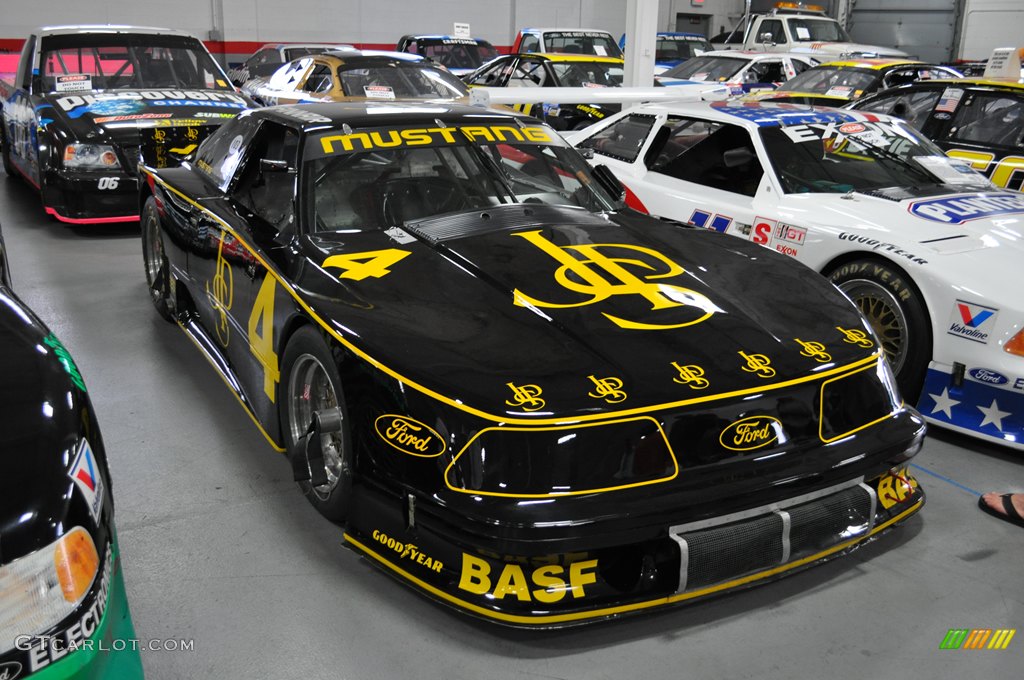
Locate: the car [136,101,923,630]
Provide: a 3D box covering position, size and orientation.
[{"bbox_3d":[0.019,-0.181,2.854,2.047,1.732,2.819,-15,26,-35],"label":"car"}]
